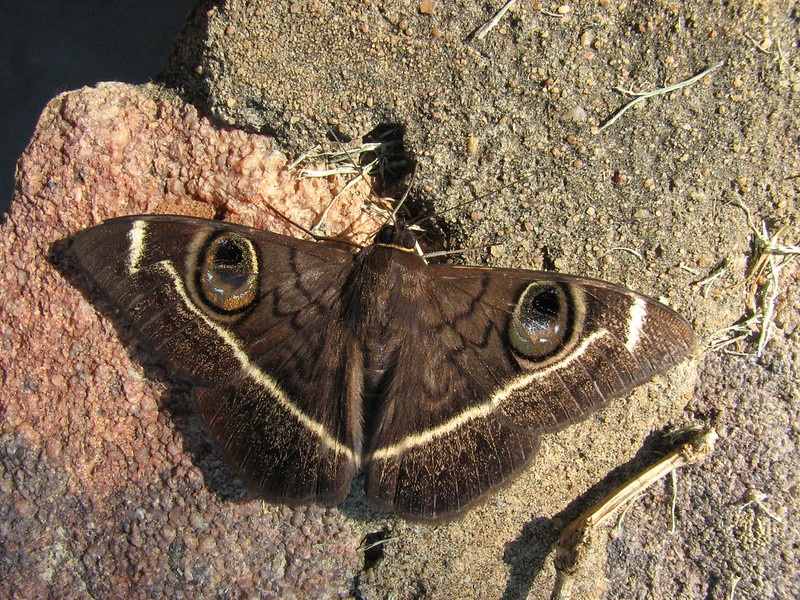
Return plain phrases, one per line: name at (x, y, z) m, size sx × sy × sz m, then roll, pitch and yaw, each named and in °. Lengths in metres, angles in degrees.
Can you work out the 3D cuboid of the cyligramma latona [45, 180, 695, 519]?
cyligramma latona at (-0.127, 0.280, 4.190) m, size 2.799 × 0.628 × 1.416 m, roll 10°, pitch 82°, yaw -6°
